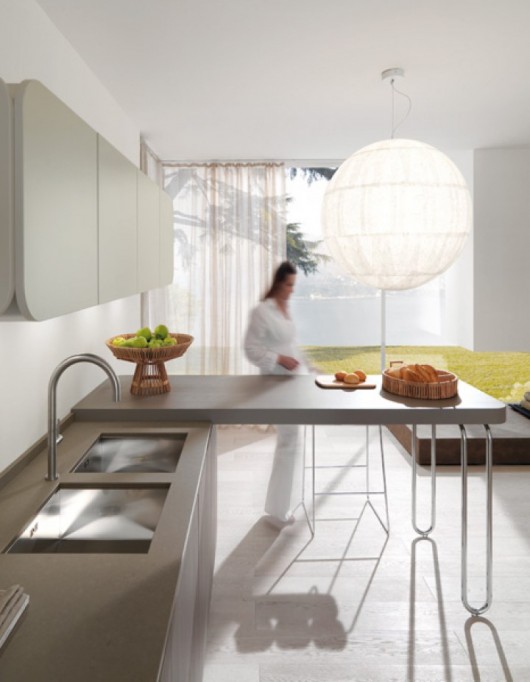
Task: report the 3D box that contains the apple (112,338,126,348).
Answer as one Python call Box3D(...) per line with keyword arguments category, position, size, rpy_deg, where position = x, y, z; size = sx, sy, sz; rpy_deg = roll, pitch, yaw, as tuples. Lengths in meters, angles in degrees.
Box3D(category="apple", position=(-0.606, -0.001, 2.432), size=(0.044, 0.018, 0.045), rpy_deg=(-1, 13, -6))

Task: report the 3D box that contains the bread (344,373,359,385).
Box3D(category="bread", position=(0.413, 0.174, 2.776), size=(0.052, 0.051, 0.058), rpy_deg=(-1, 1, 11))

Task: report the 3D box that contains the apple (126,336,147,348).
Box3D(category="apple", position=(-0.521, 0.002, 2.402), size=(0.077, 0.043, 0.074), rpy_deg=(-2, 7, -12))

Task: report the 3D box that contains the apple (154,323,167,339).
Box3D(category="apple", position=(-0.445, -0.045, 2.484), size=(0.057, 0.071, 0.058), rpy_deg=(-2, 12, -21))

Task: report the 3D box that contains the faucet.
Box3D(category="faucet", position=(-0.611, 0.195, 1.992), size=(0.226, 0.360, 0.614), rpy_deg=(-2, 7, -15))

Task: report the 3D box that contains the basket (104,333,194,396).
Box3D(category="basket", position=(-0.484, 0.064, 2.488), size=(0.282, 0.187, 0.292), rpy_deg=(-2, 3, -30))

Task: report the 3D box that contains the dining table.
Box3D(category="dining table", position=(0.154, 0.648, 2.644), size=(1.824, 0.884, 0.678), rpy_deg=(0, 7, 0))

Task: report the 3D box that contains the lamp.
Box3D(category="lamp", position=(0.433, -0.433, 2.029), size=(0.520, 0.518, 0.262), rpy_deg=(2, 7, 20))
